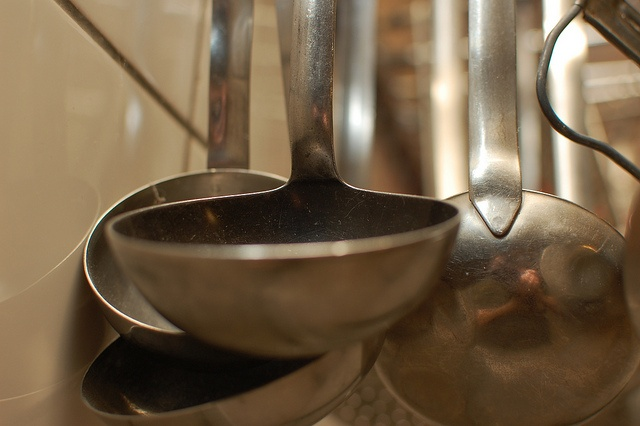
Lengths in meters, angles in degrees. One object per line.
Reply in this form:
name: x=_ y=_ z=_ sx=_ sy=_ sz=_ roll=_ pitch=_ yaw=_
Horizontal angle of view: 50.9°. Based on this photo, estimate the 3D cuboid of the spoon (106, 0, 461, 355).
spoon: x=-0.007 y=-0.071 z=0.562 sx=0.188 sy=0.154 sz=0.375 roll=1 pitch=27 yaw=10
